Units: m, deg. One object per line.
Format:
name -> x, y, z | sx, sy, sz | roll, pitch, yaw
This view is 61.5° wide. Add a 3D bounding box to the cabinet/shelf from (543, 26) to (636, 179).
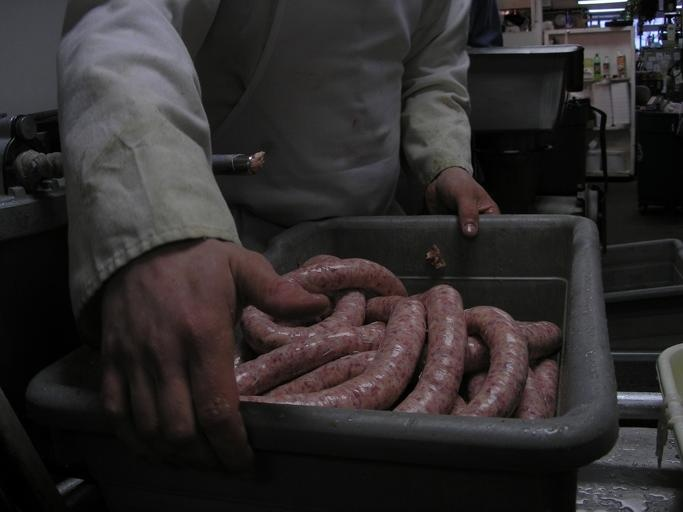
cabinet/shelf -> 3.604, -2.130, 7.947 | 1.006, 1.971, 0.695 | 6, 18, 30
